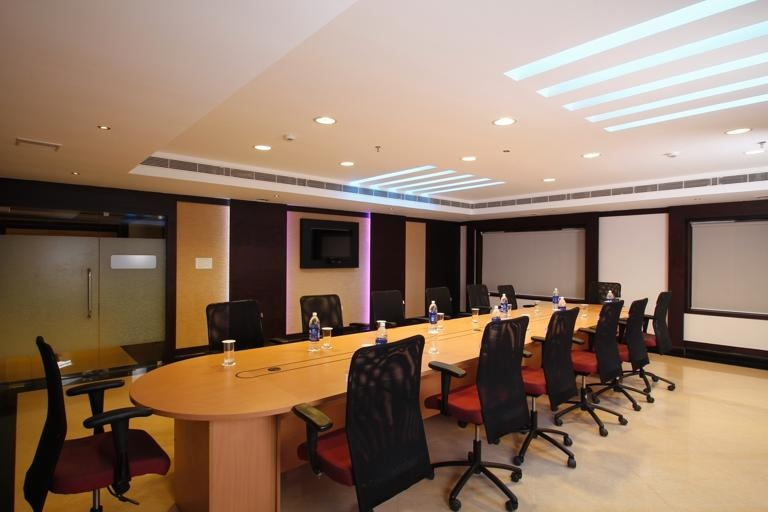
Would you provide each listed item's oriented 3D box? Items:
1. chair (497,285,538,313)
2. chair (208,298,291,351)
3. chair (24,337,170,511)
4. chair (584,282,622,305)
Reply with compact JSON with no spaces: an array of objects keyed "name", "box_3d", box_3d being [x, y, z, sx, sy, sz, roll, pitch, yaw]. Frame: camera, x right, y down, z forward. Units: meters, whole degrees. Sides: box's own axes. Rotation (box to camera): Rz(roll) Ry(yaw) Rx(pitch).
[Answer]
[{"name":"chair","box_3d":[2.519,0.781,9.881,0.573,0.810,0.558,-3,2,-41]},{"name":"chair","box_3d":[-1.656,0.709,6.333,0.717,0.908,0.629,-1,0,-36]},{"name":"chair","box_3d":[-2.409,1.353,4.447,1.025,1.359,0.607,1,-5,-25]},{"name":"chair","box_3d":[4.014,0.670,9.641,0.442,0.541,0.465,-2,-4,38]}]
